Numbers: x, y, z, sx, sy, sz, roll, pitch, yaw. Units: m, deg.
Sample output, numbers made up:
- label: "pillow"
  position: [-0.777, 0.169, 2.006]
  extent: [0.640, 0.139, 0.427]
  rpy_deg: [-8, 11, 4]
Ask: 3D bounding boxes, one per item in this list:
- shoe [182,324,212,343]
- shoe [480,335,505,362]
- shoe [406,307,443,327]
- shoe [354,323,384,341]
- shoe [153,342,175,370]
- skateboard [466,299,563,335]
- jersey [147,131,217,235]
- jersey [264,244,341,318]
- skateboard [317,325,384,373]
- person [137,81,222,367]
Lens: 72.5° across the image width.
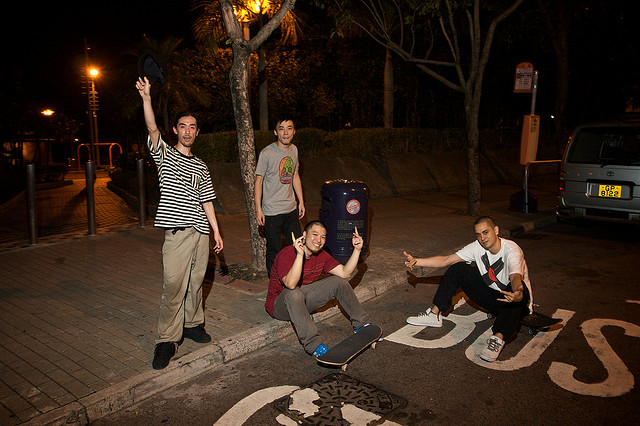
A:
- label: "shoe"
  position: [-1.582, 1.545, 5.663]
  extent: [0.444, 0.187, 0.166]
  rpy_deg: [2, 5, 26]
- label: "shoe"
  position: [2.164, 1.686, 5.434]
  extent: [0.373, 0.279, 0.196]
  rpy_deg: [-6, 12, -14]
- label: "shoe"
  position: [1.512, 1.522, 6.330]
  extent: [0.539, 0.244, 0.209]
  rpy_deg: [2, 2, 10]
- label: "shoe"
  position: [0.612, 1.533, 5.596]
  extent: [0.400, 0.181, 0.143]
  rpy_deg: [-14, 23, -23]
- label: "shoe"
  position: [-1.856, 1.675, 5.171]
  extent: [0.208, 0.211, 0.312]
  rpy_deg: [-5, 11, -7]
- label: "skateboard"
  position: [2.687, 1.469, 6.240]
  extent: [0.377, 0.214, 1.177]
  rpy_deg: [-14, 17, -40]
- label: "jersey"
  position: [-1.703, -0.338, 5.403]
  extent: [0.722, 1.269, 0.445]
  rpy_deg: [-6, 12, -14]
- label: "jersey"
  position: [-0.181, 0.942, 5.859]
  extent: [0.981, 1.073, 0.710]
  rpy_deg: [3, 8, -23]
- label: "skateboard"
  position: [0.405, 1.656, 5.390]
  extent: [0.314, 0.200, 1.168]
  rpy_deg: [13, 26, 42]
- label: "person"
  position: [-1.743, 0.074, 5.344]
  extent: [1.031, 3.253, 0.697]
  rpy_deg: [-12, 14, -37]
